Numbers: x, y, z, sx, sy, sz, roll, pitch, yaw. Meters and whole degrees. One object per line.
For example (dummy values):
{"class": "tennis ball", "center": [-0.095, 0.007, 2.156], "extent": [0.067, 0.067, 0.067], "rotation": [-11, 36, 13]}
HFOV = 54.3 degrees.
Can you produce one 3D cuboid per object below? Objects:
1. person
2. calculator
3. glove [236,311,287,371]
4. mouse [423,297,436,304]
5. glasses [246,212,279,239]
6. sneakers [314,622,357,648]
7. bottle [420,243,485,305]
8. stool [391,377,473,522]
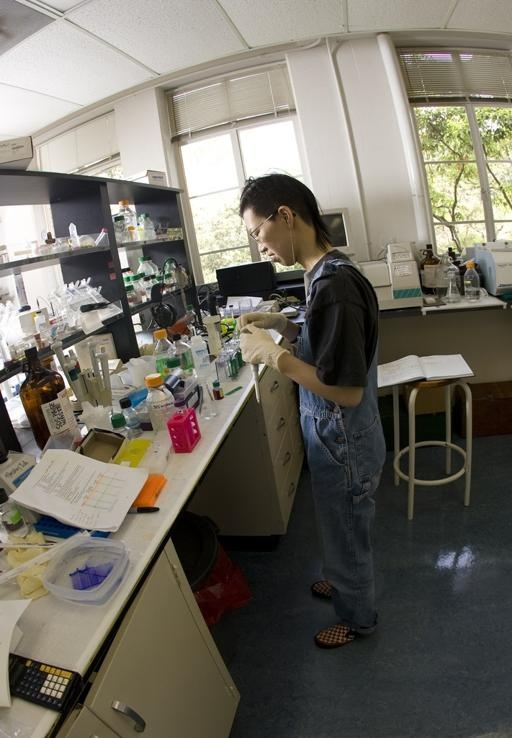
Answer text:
{"class": "person", "center": [0.191, 0.147, 1.435], "extent": [0.519, 1.277, 0.427], "rotation": [-6, 9, -15]}
{"class": "calculator", "center": [-0.326, 0.466, 0.739], "extent": [0.136, 0.057, 0.050], "rotation": [-9, 16, 25]}
{"class": "glove", "center": [0.014, -0.081, 1.521], "extent": [0.140, 0.072, 0.186], "rotation": [12, 17, -13]}
{"class": "mouse", "center": [0.936, -0.372, 2.700], "extent": [0.042, 0.014, 0.053], "rotation": [-5, 29, 6]}
{"class": "glasses", "center": [0.016, -0.383, 1.330], "extent": [0.062, 0.019, 0.060], "rotation": [-40, 11, 2]}
{"class": "sneakers", "center": [0.263, 0.888, 1.659], "extent": [0.120, 0.047, 0.066], "rotation": [0, 13, -11]}
{"class": "bottle", "center": [1.073, -0.502, 2.822], "extent": [0.389, 0.395, 0.271], "rotation": [-7, 22, 19]}
{"class": "stool", "center": [0.877, 0.422, 2.507], "extent": [0.470, 0.777, 0.484], "rotation": [-2, 26, 10]}
